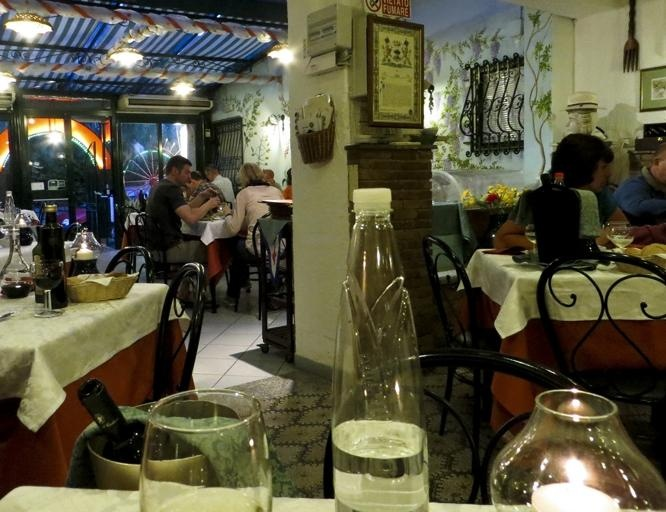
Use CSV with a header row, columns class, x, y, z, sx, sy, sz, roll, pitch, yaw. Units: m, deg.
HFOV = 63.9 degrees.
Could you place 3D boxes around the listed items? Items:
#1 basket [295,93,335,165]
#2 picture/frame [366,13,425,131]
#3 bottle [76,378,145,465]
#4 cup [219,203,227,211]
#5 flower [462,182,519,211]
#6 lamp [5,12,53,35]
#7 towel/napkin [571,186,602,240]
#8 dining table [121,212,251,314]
class,x,y,z,sx,sy,sz,roll,pitch,yaw
basket,-0.127,-0.779,3.323,0.120,0.411,0.382,-9,10,-36
picture/frame,0.371,-1.074,3.148,0.462,0.614,0.121,-10,11,-42
bottle,-0.308,0.234,0.743,0.076,0.132,0.076,-3,8,0
cup,-1.224,-0.552,5.953,0.075,0.060,0.078,1,11,0
flower,1.328,-0.477,4.433,0.403,0.270,0.359,0,3,4
lamp,-3.266,-2.515,5.814,0.362,0.191,0.376,6,12,19
towel/napkin,1.015,-0.173,2.125,0.098,0.192,0.188,1,9,25
dining table,-1.442,-0.076,5.309,1.058,0.704,1.347,-3,5,-43
